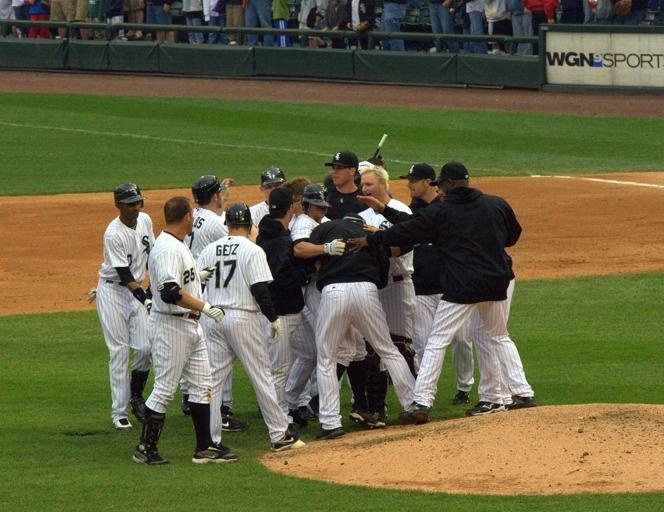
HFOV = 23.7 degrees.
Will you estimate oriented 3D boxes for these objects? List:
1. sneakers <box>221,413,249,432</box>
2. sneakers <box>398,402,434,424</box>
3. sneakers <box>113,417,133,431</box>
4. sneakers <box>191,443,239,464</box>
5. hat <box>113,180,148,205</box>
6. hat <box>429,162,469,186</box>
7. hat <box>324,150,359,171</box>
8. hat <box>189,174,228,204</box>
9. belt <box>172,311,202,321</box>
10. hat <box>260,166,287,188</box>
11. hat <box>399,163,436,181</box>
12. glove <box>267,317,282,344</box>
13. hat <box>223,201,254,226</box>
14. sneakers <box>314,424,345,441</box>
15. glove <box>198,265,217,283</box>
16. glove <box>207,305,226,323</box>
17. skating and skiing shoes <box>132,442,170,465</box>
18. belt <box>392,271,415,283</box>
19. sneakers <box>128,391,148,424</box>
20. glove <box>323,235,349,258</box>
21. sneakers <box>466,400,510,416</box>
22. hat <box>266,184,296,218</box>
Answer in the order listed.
[{"bbox_3d":[-1.239,2.222,20.915,0.460,0.158,0.151,1,4,14],"label":"sneakers"},{"bbox_3d":[1.102,2.078,20.562,0.466,0.197,0.284,-7,40,13],"label":"sneakers"},{"bbox_3d":[-2.766,2.196,20.705,0.128,0.091,0.264,-1,4,-34],"label":"sneakers"},{"bbox_3d":[-1.494,2.497,19.985,0.674,0.248,0.215,-1,2,-5],"label":"sneakers"},{"bbox_3d":[-2.791,-0.843,20.925,0.309,0.198,0.389,-18,8,-38],"label":"hat"},{"bbox_3d":[1.538,-1.082,20.787,0.446,0.199,0.289,1,12,18],"label":"hat"},{"bbox_3d":[0.149,-1.305,21.502,0.452,0.211,0.289,4,6,-14],"label":"hat"},{"bbox_3d":[-1.664,-0.949,21.133,0.360,0.307,0.444,-8,22,31],"label":"hat"},{"bbox_3d":[-1.852,0.757,19.938,0.372,0.113,0.102,-1,5,-28],"label":"belt"},{"bbox_3d":[-0.844,-1.090,21.737,0.312,0.190,0.386,-13,0,-2],"label":"hat"},{"bbox_3d":[1.150,-1.131,21.252,0.449,0.198,0.256,4,8,-1],"label":"hat"},{"bbox_3d":[-0.738,0.959,20.211,0.152,0.294,0.110,-14,1,1],"label":"glove"},{"bbox_3d":[-1.216,-0.547,20.370,0.300,0.245,0.325,-1,14,5],"label":"hat"},{"bbox_3d":[-0.036,2.300,20.426,0.363,0.153,0.154,-1,6,16],"label":"sneakers"},{"bbox_3d":[-1.662,0.238,20.294,0.251,0.234,0.310,-1,5,-27],"label":"glove"},{"bbox_3d":[-1.473,0.726,19.801,0.202,0.098,0.240,31,6,38],"label":"glove"},{"bbox_3d":[-2.301,2.490,19.918,0.400,0.149,0.247,3,3,23],"label":"skating and skiing shoes"},{"bbox_3d":[0.930,0.275,21.143,0.203,0.063,0.138,-14,6,15],"label":"belt"},{"bbox_3d":[-2.606,2.021,21.114,0.180,0.432,0.187,-8,-6,10],"label":"sneakers"},{"bbox_3d":[0.037,-0.121,20.508,0.298,0.228,0.123,1,5,-3],"label":"glove"},{"bbox_3d":[2.038,2.010,20.872,0.610,0.195,0.187,-1,-1,-12],"label":"sneakers"},{"bbox_3d":[-0.676,-0.693,20.552,0.331,0.405,0.195,1,5,-2],"label":"hat"}]
